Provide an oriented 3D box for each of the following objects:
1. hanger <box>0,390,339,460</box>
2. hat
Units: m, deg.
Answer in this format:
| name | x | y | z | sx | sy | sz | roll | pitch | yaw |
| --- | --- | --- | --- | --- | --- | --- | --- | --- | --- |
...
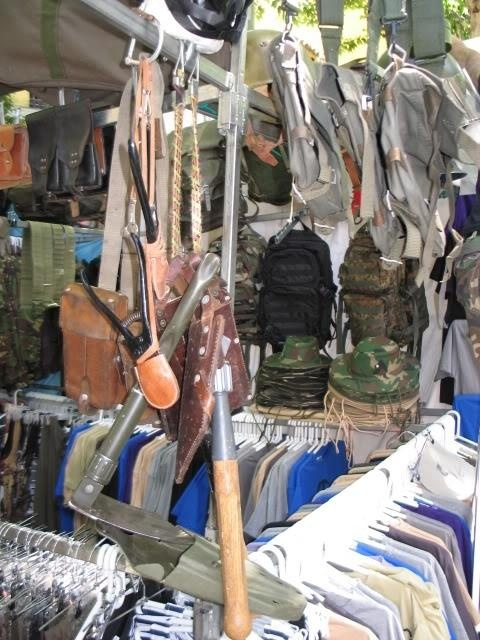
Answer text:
| name | x | y | z | sx | sy | sz | roll | pitch | yaw |
| --- | --- | --- | --- | --- | --- | --- | --- | --- | --- |
| hanger | -0.140 | 0.299 | 1.430 | 0.994 | 0.147 | 0.241 | 0 | 25 | 5 |
| hat | 0.389 | 0.255 | 2.110 | 0.496 | 0.218 | 0.375 | 2 | 5 | 23 |
